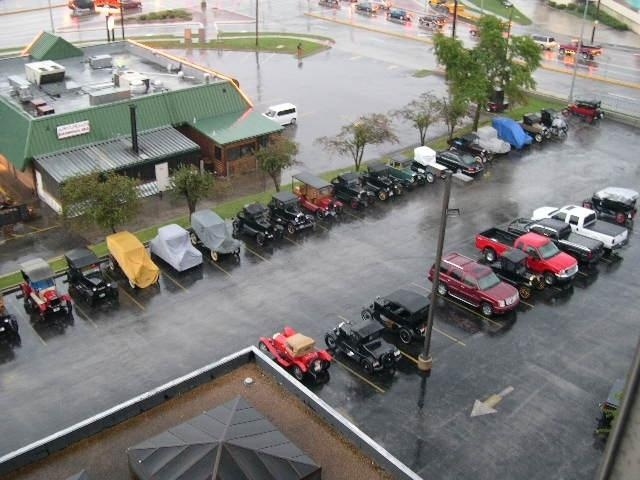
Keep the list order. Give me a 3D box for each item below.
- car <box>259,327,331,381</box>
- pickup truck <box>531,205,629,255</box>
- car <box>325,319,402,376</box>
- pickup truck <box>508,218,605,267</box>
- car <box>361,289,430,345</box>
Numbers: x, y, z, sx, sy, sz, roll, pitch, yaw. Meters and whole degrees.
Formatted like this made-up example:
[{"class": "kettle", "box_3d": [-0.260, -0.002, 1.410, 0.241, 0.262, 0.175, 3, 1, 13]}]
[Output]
[{"class": "car", "box_3d": [-1.683, 6.973, 42.971, 2.584, 1.991, 4.701, -16, 31, -39]}, {"class": "pickup truck", "box_3d": [20.795, -1.491, 55.350, 7.704, 2.714, 3.502, 28, 43, 33]}, {"class": "car", "box_3d": [2.742, 6.463, 43.594, 2.599, 2.212, 4.681, -20, 34, -34]}, {"class": "pickup truck", "box_3d": [18.221, -0.185, 54.375, 7.923, 2.768, 3.248, 28, 49, 31]}, {"class": "car", "box_3d": [5.157, 4.915, 45.495, 2.650, 2.209, 4.362, -28, 45, -36]}]
